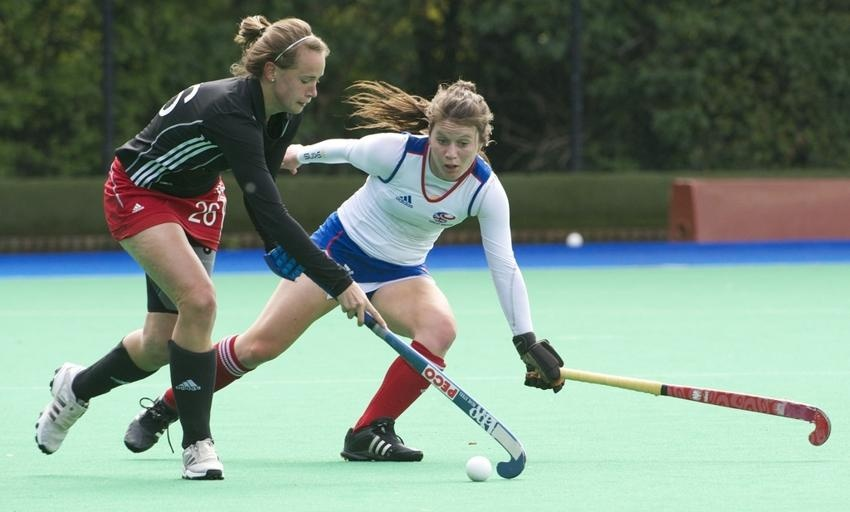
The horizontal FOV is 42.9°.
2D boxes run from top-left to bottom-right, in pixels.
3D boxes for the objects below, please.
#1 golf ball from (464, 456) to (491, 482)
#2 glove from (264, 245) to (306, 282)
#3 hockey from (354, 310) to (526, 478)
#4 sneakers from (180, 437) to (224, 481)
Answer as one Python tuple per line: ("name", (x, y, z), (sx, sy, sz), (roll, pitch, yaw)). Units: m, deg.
("golf ball", (0.369, 1.409, 7.284), (0.185, 0.155, 0.227), (0, 11, 3))
("glove", (-0.929, 0.069, 7.745), (0.091, 0.194, 0.273), (19, 12, 18))
("hockey", (0.114, 1.060, 8.002), (1.668, 0.319, 0.167), (39, 13, 22))
("sneakers", (-1.502, 1.362, 7.295), (0.238, 0.243, 0.540), (2, -1, -26))
